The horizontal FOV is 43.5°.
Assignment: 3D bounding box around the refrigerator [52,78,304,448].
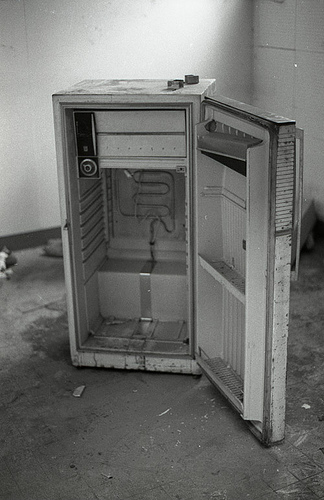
[{"bbox_3d":[0.075,-0.080,2.786,1.651,1.957,1.085,16,28,35],"label":"refrigerator"}]
